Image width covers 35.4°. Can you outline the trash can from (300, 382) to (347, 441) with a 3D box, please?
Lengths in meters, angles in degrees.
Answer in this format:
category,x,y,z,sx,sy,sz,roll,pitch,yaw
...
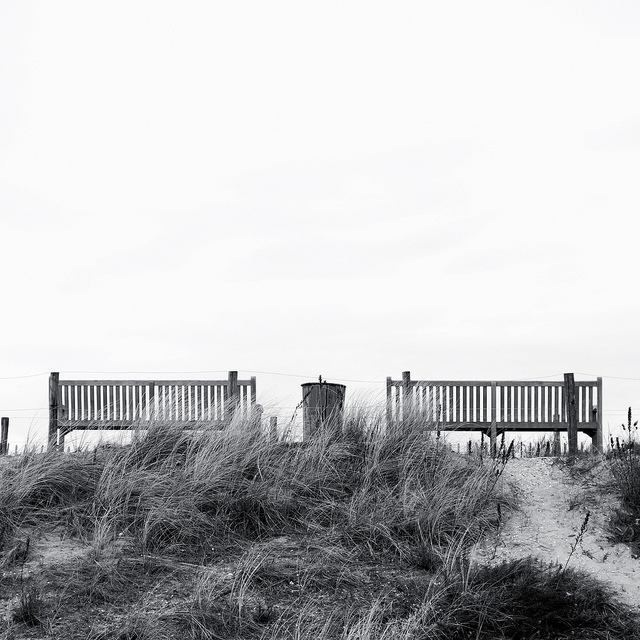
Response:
category,x,y,z,sx,sy,sz,roll,pitch,yaw
trash can,0.062,1.079,11.775,0.504,0.694,0.631,0,-7,-1

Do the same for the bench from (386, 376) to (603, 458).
category,x,y,z,sx,sy,sz,roll,pitch,yaw
bench,3.168,1.968,17.461,3.075,2.014,1.038,-3,0,35
